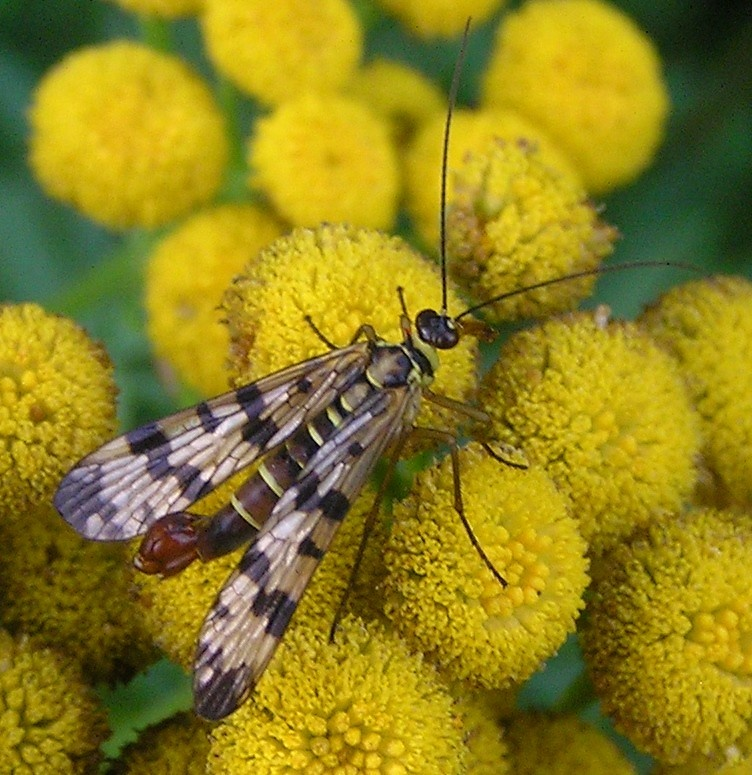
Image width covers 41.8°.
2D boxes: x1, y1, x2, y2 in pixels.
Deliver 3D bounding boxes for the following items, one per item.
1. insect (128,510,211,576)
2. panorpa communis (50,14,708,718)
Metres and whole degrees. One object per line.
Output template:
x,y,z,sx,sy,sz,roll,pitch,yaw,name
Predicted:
-0.235,0.176,1.093,0.057,0.025,0.078,38,67,15,insect
-0.042,0.099,1.143,0.608,0.249,0.414,-36,81,-3,panorpa communis
